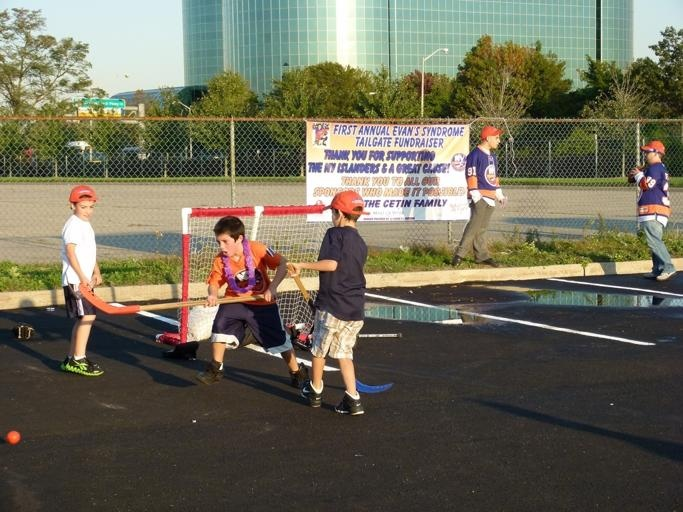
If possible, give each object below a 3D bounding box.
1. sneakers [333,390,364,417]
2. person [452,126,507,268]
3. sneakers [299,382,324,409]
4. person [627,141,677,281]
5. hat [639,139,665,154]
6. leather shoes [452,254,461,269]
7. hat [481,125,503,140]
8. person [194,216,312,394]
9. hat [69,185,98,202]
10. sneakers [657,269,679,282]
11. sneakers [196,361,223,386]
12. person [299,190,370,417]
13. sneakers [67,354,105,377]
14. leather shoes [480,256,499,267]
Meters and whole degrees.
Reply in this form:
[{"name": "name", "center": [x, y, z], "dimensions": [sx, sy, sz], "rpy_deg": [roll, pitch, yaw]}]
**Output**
[{"name": "sneakers", "center": [0.074, 1.359, 7.395], "dimensions": [0.124, 0.165, 0.342], "rpy_deg": [0, 0, -25]}, {"name": "person", "center": [2.345, -1.041, 13.730], "dimensions": [0.688, 2.269, 1.203], "rpy_deg": [4, 12, 22]}, {"name": "sneakers", "center": [-0.270, 1.298, 7.628], "dimensions": [0.115, 0.134, 0.313], "rpy_deg": [-1, 10, -11]}, {"name": "person", "center": [5.079, -0.767, 13.313], "dimensions": [0.511, 2.223, 0.808], "rpy_deg": [-5, 12, -21]}, {"name": "hat", "center": [5.012, -1.827, 13.150], "dimensions": [0.400, 0.233, 0.285], "rpy_deg": [8, 6, 17]}, {"name": "leather shoes", "center": [1.899, 0.088, 13.451], "dimensions": [0.212, 0.221, 0.498], "rpy_deg": [3, 2, 11]}, {"name": "hat", "center": [2.520, -2.093, 13.641], "dimensions": [0.331, 0.172, 0.236], "rpy_deg": [-7, 12, 2]}, {"name": "person", "center": [-0.869, 0.467, 7.870], "dimensions": [0.976, 1.722, 0.549], "rpy_deg": [-1, 11, -4]}, {"name": "hat", "center": [-2.665, -0.649, 8.468], "dimensions": [0.296, 0.231, 0.399], "rpy_deg": [-2, 11, -25]}, {"name": "sneakers", "center": [5.299, 0.275, 13.279], "dimensions": [0.403, 0.155, 0.149], "rpy_deg": [-18, -5, -46]}, {"name": "sneakers", "center": [-1.244, 1.125, 7.936], "dimensions": [0.278, 0.189, 0.160], "rpy_deg": [16, 6, -39]}, {"name": "person", "center": [-0.077, 0.422, 7.419], "dimensions": [0.596, 1.998, 0.455], "rpy_deg": [0, 11, 1]}, {"name": "sneakers", "center": [-2.632, 1.144, 8.474], "dimensions": [0.421, 0.199, 0.165], "rpy_deg": [8, 6, 2]}, {"name": "leather shoes", "center": [2.486, 0.099, 13.694], "dimensions": [0.340, 0.147, 0.114], "rpy_deg": [6, -2, 21]}]
